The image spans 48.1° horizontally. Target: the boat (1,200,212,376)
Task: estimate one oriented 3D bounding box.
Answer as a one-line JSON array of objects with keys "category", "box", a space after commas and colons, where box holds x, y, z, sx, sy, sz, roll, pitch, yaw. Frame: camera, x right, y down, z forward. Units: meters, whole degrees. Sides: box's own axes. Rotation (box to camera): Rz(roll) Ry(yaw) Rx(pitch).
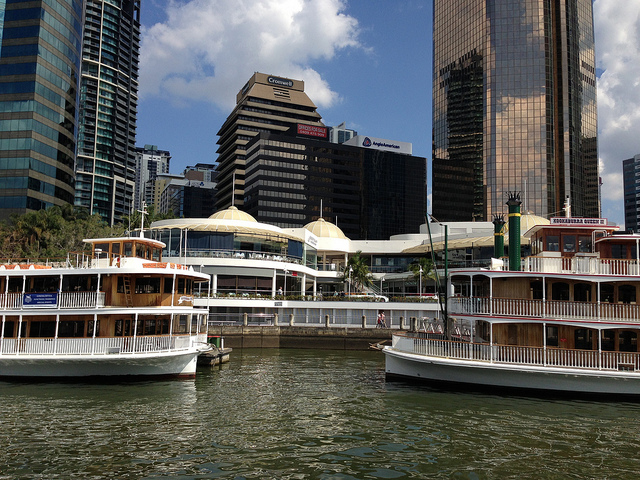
[{"category": "boat", "box": [-18.800, 6.274, 61.268, 16.882, 9.753, 9.701, -2, -5, 16]}]
